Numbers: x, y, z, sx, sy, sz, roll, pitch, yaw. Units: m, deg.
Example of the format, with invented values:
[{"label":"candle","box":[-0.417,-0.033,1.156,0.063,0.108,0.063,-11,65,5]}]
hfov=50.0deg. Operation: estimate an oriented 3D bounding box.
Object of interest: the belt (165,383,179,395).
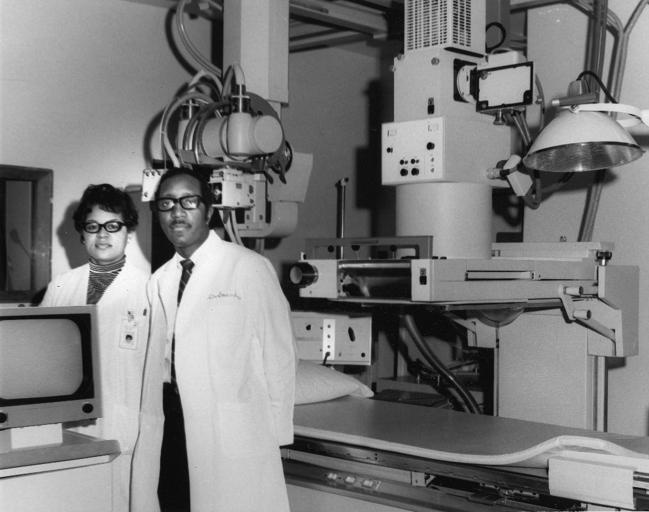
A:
[{"label":"belt","box":[-0.626,0.538,2.842,0.046,0.051,0.013,6,4,28]}]

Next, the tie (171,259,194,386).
[{"label":"tie","box":[-0.582,0.261,2.836,0.079,0.520,0.066,4,1,-2]}]

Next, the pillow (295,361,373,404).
[{"label":"pillow","box":[0.003,0.621,3.497,0.507,0.199,0.254,0,-4,-35]}]
